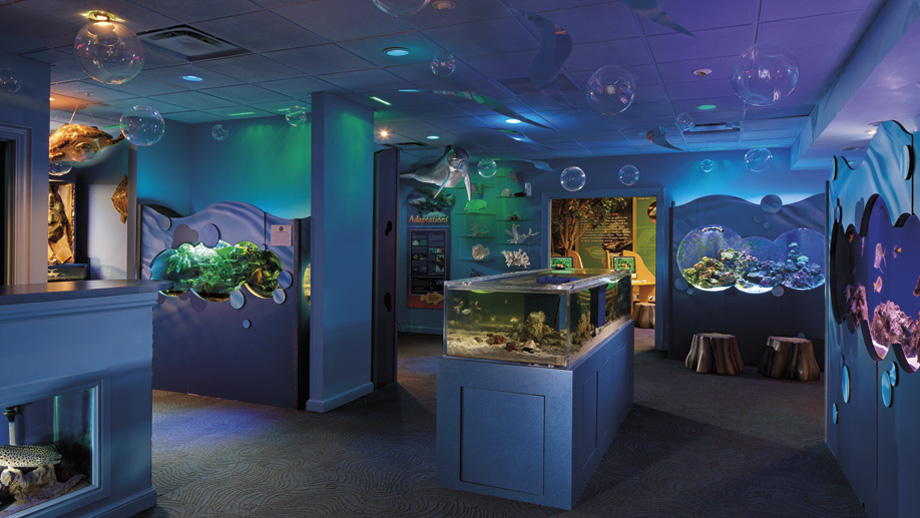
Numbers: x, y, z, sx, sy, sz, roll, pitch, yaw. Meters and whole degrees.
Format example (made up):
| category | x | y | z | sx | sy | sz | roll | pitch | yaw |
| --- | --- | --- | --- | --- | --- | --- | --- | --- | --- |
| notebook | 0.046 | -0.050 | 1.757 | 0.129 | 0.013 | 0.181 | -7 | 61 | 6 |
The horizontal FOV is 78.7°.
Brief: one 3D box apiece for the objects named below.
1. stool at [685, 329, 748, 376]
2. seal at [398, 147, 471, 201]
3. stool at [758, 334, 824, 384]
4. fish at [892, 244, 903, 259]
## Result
| category | x | y | z | sx | sy | sz | roll | pitch | yaw |
| --- | --- | --- | --- | --- | --- | --- | --- | --- | --- |
| stool | 4.071 | 1.494 | 8.997 | 0.889 | 0.441 | 0.851 | -2 | 1 | -24 |
| seal | 0.044 | -1.368 | 8.897 | 1.385 | 0.883 | 1.137 | -4 | 7 | -33 |
| stool | 5.173 | 1.599 | 8.823 | 1.040 | 0.712 | 0.601 | 0 | -2 | 26 |
| fish | 3.630 | -0.061 | 4.684 | 0.025 | 0.077 | 0.080 | 20 | 13 | -5 |
